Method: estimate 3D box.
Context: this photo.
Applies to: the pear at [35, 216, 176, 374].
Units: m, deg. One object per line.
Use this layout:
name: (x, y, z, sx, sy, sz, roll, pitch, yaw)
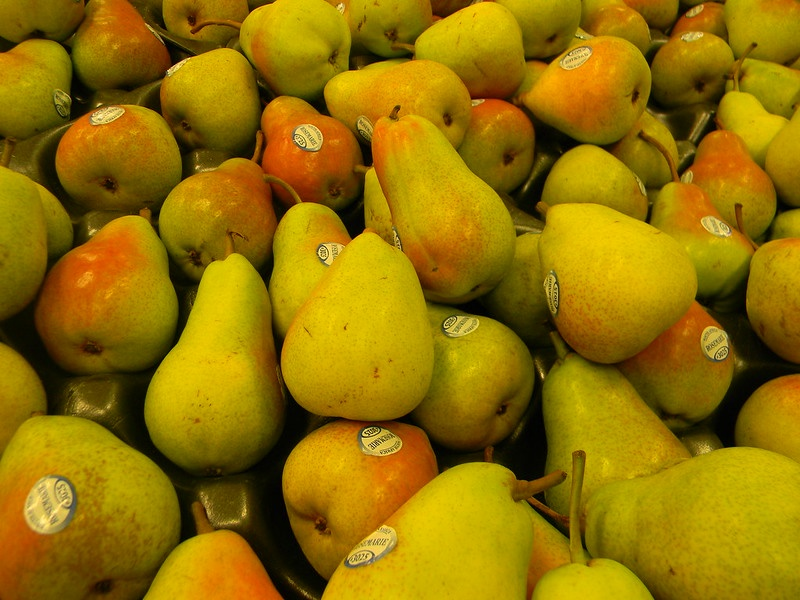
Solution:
pear: (-0.490, 0.001, 1.308, 0.128, 0.144, 0.205, -14, 51, 21)
